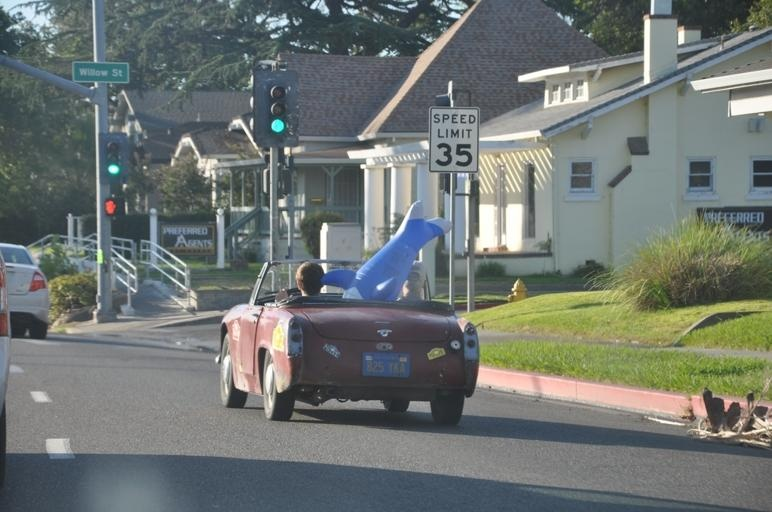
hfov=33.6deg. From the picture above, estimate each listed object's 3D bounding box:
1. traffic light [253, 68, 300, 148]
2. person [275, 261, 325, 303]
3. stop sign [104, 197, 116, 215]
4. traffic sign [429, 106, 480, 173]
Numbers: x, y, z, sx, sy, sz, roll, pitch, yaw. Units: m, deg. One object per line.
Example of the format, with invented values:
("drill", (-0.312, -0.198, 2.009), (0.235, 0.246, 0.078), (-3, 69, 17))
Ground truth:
("traffic light", (-2.597, -3.488, 29.948), (1.001, 1.868, 0.344), (-1, 2, -10))
("person", (-1.316, 0.493, 22.853), (0.557, 0.816, 0.761), (1, 6, -16))
("stop sign", (-7.941, -1.399, 36.777), (0.350, 0.519, 0.172), (-2, 2, -32))
("traffic sign", (1.557, -2.674, 29.506), (1.135, 1.501, 0.457), (-1, 2, 0))
